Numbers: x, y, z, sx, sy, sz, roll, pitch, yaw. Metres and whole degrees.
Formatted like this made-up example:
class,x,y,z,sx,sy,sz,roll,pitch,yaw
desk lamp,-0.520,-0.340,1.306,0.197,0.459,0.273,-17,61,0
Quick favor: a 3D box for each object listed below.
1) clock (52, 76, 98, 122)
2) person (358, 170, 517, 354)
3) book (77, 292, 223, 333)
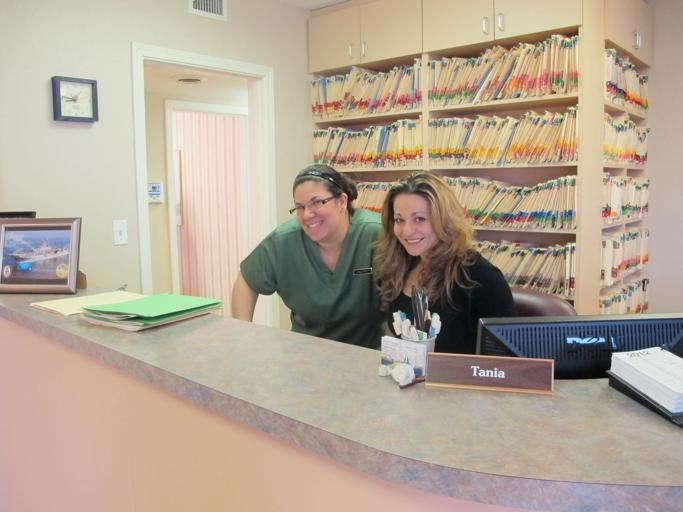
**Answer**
class,x,y,z,sx,sy,sz,roll,pitch,yaw
clock,-1.466,-0.874,2.815,0.229,0.221,0.035,5,10,5
person,0.427,0.206,2.116,0.599,1.081,0.371,8,24,33
book,-0.682,0.175,1.794,0.338,0.083,0.379,10,18,37
